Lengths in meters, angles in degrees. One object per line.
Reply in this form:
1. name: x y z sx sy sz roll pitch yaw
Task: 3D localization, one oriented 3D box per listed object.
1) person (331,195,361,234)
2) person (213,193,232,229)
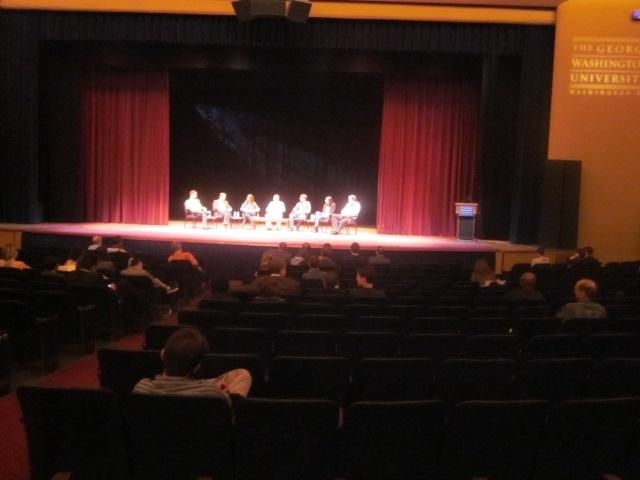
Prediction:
1. person: 0.654 -0.667 14.349 0.645 0.940 1.157 3 8 12
2. person: -2.536 -0.768 14.702 0.437 0.894 0.911 0 8 -11
